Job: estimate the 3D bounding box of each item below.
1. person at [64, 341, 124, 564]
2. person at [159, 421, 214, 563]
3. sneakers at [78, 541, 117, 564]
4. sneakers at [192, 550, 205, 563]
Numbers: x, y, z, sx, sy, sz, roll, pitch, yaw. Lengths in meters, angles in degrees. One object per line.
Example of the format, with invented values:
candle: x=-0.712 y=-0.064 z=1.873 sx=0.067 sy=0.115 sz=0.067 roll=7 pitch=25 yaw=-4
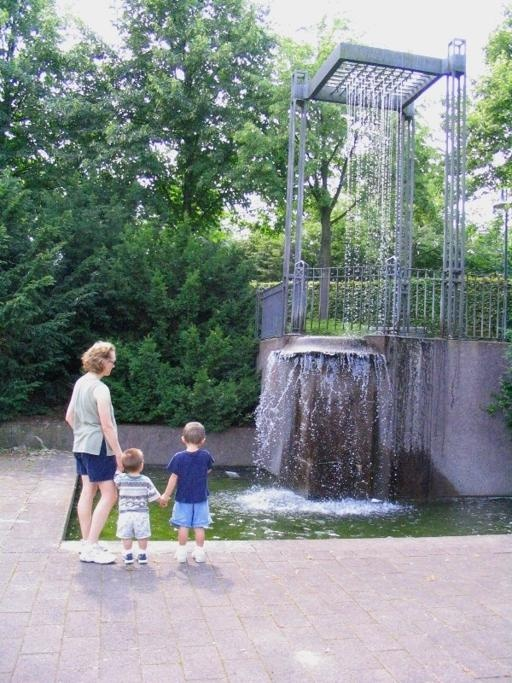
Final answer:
person: x=-1.117 y=0.772 z=4.834 sx=0.314 sy=1.534 sz=0.524 roll=6 pitch=-4 yaw=-39
person: x=-0.507 y=1.093 z=5.051 sx=0.345 sy=0.996 sz=0.473 roll=3 pitch=-3 yaw=-1
sneakers: x=-1.113 y=1.468 z=4.821 sx=0.257 sy=0.103 sz=0.122 roll=5 pitch=6 yaw=-1
sneakers: x=-0.414 y=1.542 z=4.958 sx=0.048 sy=0.049 sz=0.122 roll=2 pitch=2 yaw=-3
